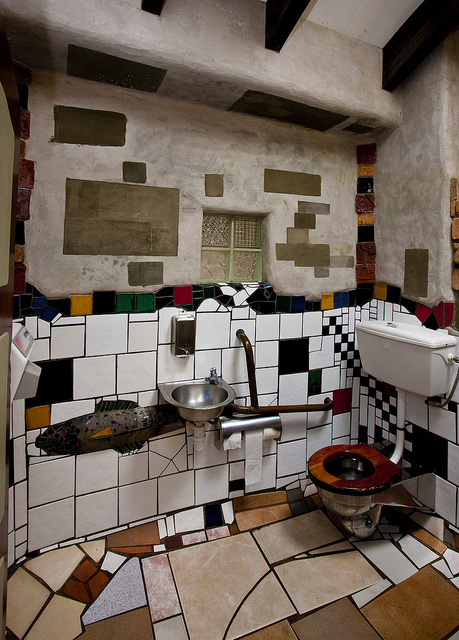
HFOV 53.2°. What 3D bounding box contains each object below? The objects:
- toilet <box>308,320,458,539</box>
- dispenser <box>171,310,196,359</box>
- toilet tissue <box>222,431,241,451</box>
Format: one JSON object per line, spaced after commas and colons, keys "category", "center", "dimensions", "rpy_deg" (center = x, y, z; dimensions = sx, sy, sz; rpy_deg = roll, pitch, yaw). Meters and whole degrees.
{"category": "toilet", "center": [0.645, 0.405, 2.459], "dimensions": [0.777, 1.388, 0.671], "rpy_deg": [0, 3, -19]}
{"category": "dispenser", "center": [-0.202, 0.057, 2.037], "dimensions": [0.114, 0.192, 0.094], "rpy_deg": [-2, 11, -11]}
{"category": "toilet tissue", "center": [0.007, 0.536, 2.052], "dimensions": [0.085, 0.103, 0.047], "rpy_deg": [-4, 0, -27]}
